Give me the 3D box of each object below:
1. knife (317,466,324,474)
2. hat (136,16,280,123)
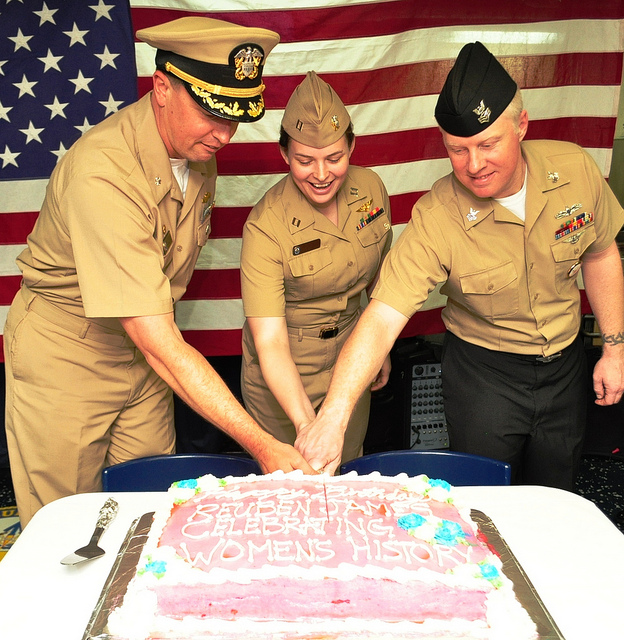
[{"bbox_3d":[0.019,0.394,1.629,0.013,0.016,0.005,4,8,5],"label":"knife"},{"bbox_3d":[-0.289,-0.633,1.658,0.352,0.292,0.345,-4,15,-20],"label":"hat"}]
